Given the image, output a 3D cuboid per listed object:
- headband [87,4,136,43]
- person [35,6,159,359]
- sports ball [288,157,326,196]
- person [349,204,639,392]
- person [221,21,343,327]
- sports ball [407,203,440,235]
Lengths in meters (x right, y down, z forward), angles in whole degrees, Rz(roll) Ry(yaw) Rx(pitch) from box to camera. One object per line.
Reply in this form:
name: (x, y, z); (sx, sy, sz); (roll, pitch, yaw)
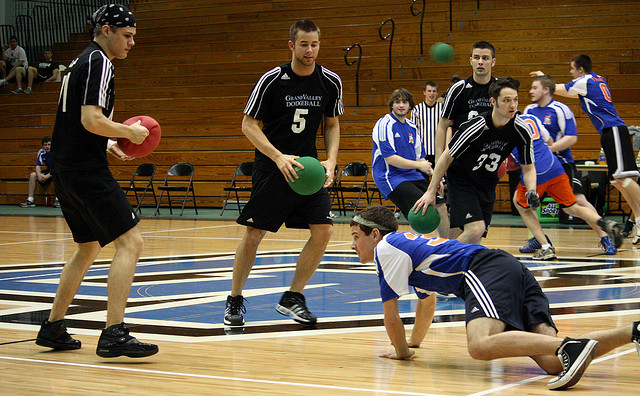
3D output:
headband: (-1.541, -1.315, 3.927); (0.272, 0.296, 0.309); (-4, 8, -33)
person: (-1.606, -0.119, 3.800); (0.821, 2.544, 0.789); (-4, 9, -27)
sports ball: (-0.120, -0.196, 4.539); (0.226, 0.213, 0.251); (-19, -21, -44)
person: (1.072, 0.628, 3.684); (1.072, 1.106, 1.927); (-7, 9, -44)
person: (-0.311, -0.234, 4.974); (1.018, 2.649, 1.196); (1, 8, 1)
sports ball: (1.041, 0.207, 5.441); (0.342, 0.363, 0.326); (-4, 17, 1)
